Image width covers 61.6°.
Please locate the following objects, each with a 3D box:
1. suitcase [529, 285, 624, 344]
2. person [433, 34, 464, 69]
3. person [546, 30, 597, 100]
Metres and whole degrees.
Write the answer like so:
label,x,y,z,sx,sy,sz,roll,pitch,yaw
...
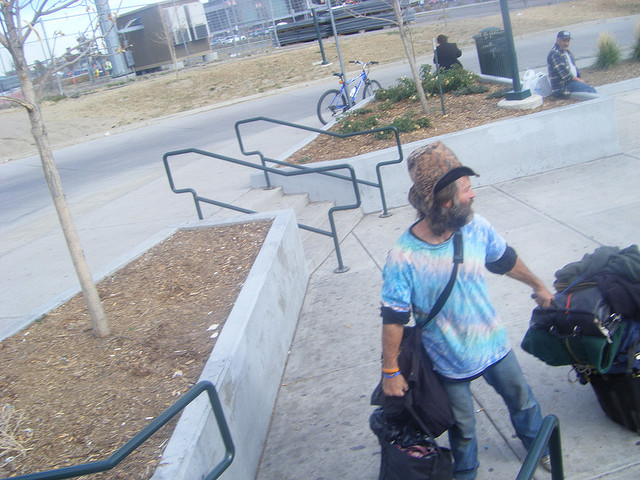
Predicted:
label,x,y,z,sx,sy,sz,roll,pitch,yaw
suitcase,1.759,0.505,3.759,0.452,0.166,0.437,6,30,43
person,3.208,-4.677,13.355,0.532,0.799,0.702,-7,21,14
person,4.819,-3.250,10.235,0.918,1.429,0.788,13,36,40
